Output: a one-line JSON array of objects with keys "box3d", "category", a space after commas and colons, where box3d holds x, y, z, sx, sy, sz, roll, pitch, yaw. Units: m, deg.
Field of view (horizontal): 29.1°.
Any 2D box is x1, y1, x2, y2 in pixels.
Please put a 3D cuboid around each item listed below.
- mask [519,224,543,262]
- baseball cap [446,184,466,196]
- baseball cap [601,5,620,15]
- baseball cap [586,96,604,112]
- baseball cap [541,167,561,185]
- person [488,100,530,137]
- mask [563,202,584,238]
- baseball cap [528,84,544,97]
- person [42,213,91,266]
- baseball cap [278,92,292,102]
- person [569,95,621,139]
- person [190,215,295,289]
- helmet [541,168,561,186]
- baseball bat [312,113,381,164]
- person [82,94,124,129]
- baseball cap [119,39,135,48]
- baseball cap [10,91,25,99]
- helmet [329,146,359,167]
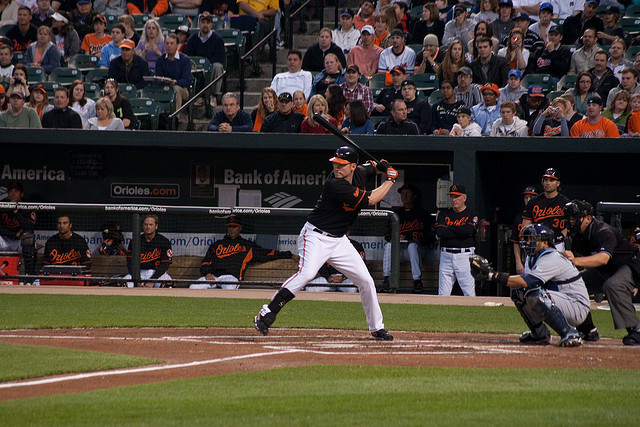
[{"box3d": [3.153, 0.409, 18.328, 0.439, 0.469, 0.357, 4, -5, -2], "category": "mask"}, {"box3d": [2.521, -0.447, 22.466, 0.296, 0.197, 0.420, 1, 10, 6], "category": "baseball cap"}, {"box3d": [5.865, -4.075, 24.682, 0.293, 0.119, 0.195, 2, 3, -12], "category": "baseball cap"}, {"box3d": [4.983, -2.015, 22.302, 0.249, 0.201, 0.181, -18, 26, -33], "category": "baseball cap"}, {"box3d": [4.102, -0.680, 21.515, 0.421, 0.249, 0.291, 20, -5, -43], "category": "baseball cap"}, {"box3d": [3.497, -1.648, 22.710, 0.788, 0.803, 0.437, 13, 14, 37], "category": "person"}, {"box3d": [3.861, 0.098, 18.903, 0.263, 0.577, 0.374, -1, 10, -9], "category": "mask"}, {"box3d": [3.987, -2.257, 22.672, 0.288, 0.217, 0.235, 2, 10, 9], "category": "baseball cap"}, {"box3d": [-4.660, 0.468, 22.759, 0.888, 0.934, 0.304, 4, 10, 24], "category": "person"}, {"box3d": [-0.632, -2.172, 22.980, 0.245, 0.178, 0.416, 0, 10, -2], "category": "baseball cap"}, {"box3d": [5.014, -1.726, 22.419, 0.998, 0.776, 0.453, 3, 6, 36], "category": "person"}, {"box3d": [-1.593, 0.798, 22.602, 1.399, 0.865, 1.534, 0, 2, 8], "category": "person"}, {"box3d": [4.095, -0.684, 21.484, 0.367, 0.216, 0.254, 19, -5, -42], "category": "helmet"}, {"box3d": [0.491, -1.371, 21.952, 1.676, 0.192, 0.200, 37, -9, 8], "category": "baseball bat"}, {"box3d": [-4.063, -1.855, 23.313, 0.753, 0.707, 0.408, 4, 11, 18], "category": "person"}, {"box3d": [-3.837, -3.392, 24.655, 0.266, 0.177, 0.385, -2, 10, -11], "category": "baseball cap"}, {"box3d": [-5.662, -2.227, 23.115, 0.240, 0.142, 0.206, -2, 10, -15], "category": "baseball cap"}, {"box3d": [0.408, -0.860, 18.627, 0.334, 0.178, 0.237, 6, 2, -41], "category": "helmet"}]
